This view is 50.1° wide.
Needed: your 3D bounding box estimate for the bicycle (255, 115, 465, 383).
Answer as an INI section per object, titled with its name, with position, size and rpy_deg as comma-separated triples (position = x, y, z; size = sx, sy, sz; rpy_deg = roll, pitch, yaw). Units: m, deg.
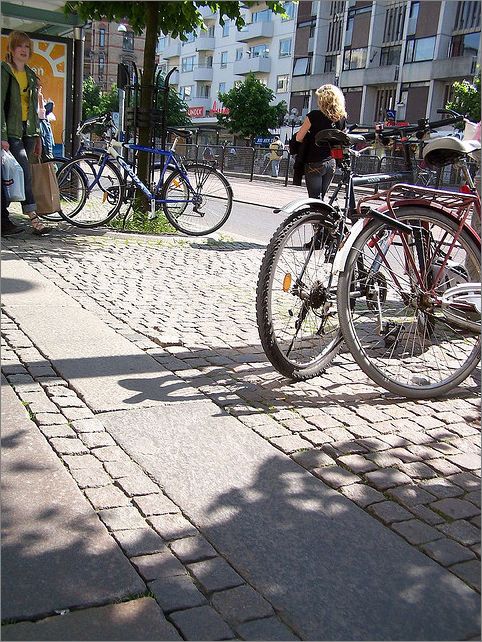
[bicycle]
position = 0.481, -0.424, 3.219
size = 0.455, 1.528, 0.994
rpy_deg = 11, 10, 18
